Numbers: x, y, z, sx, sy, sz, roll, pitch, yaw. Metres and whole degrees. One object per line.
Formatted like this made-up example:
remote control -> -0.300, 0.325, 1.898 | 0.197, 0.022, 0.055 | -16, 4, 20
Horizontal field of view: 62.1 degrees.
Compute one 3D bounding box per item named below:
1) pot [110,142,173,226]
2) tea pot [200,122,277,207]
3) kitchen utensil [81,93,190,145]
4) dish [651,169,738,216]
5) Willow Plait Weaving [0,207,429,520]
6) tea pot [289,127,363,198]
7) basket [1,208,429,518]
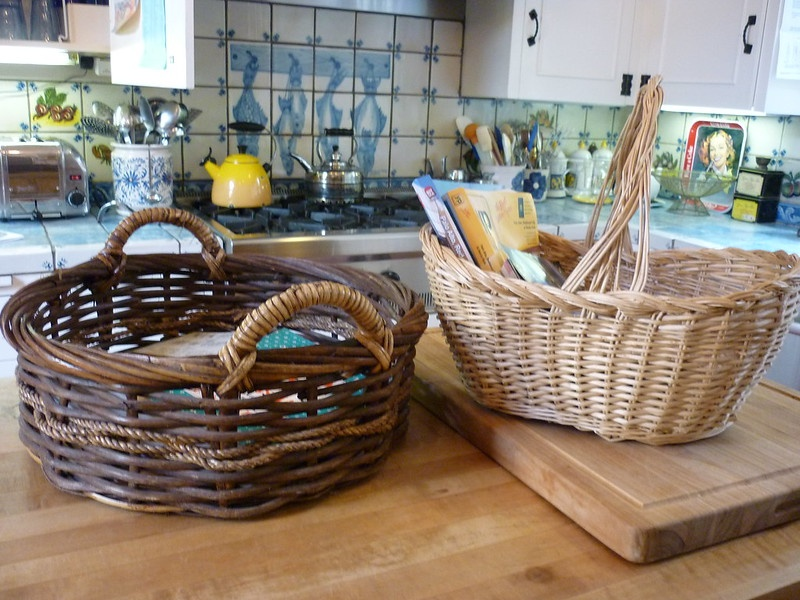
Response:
pot -> -0.802, -0.379, 2.060 | 0.190, 0.203, 0.187 | 2, 13, -1
tea pot -> -0.537, -0.441, 2.151 | 0.264, 0.266, 0.173 | -1, 20, -20
kitchen utensil -> -0.812, -0.563, 2.077 | 0.337, 0.136, 0.295 | 0, 17, -6
dish -> 1.173, -0.433, 2.624 | 0.225, 0.101, 0.220 | -12, 19, -41
Willow Plait Weaving -> -0.190, 0.102, 0.828 | 0.463, 0.201, 0.449 | -9, 18, -42
tea pot -> -0.263, -0.493, 2.396 | 0.232, 0.247, 0.290 | -1, 17, -9
basket -> -0.193, 0.098, 0.833 | 0.463, 0.201, 0.449 | -8, 18, -42
